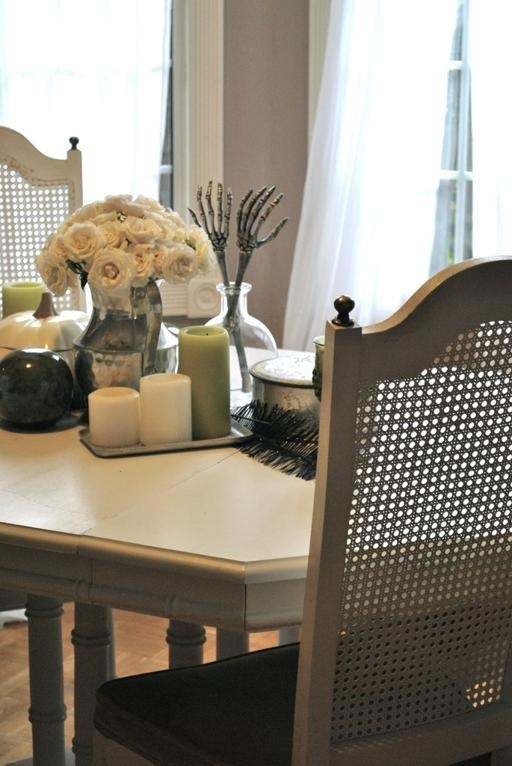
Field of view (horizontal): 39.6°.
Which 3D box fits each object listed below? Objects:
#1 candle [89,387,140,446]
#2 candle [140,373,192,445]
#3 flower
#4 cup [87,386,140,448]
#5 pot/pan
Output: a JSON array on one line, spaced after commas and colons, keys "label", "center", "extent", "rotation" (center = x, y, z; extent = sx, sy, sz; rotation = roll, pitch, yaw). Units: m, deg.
[{"label": "candle", "center": [-0.197, 0.050, 1.036], "extent": [0.082, 0.082, 0.075], "rotation": [-6, 13, -39]}, {"label": "candle", "center": [-0.125, 0.038, 1.044], "extent": [0.092, 0.096, 0.089], "rotation": [1, 5, 3]}, {"label": "flower", "center": [-0.192, -0.205, 1.034], "extent": [0.206, 0.171, 0.118], "rotation": [2, -24, -7]}, {"label": "cup", "center": [-0.196, 0.051, 1.035], "extent": [0.077, 0.084, 0.083], "rotation": [2, 10, 0]}, {"label": "pot/pan", "center": [0.044, 0.005, 1.093], "extent": [0.099, 0.084, 0.102], "rotation": [-1, 6, -8]}]
